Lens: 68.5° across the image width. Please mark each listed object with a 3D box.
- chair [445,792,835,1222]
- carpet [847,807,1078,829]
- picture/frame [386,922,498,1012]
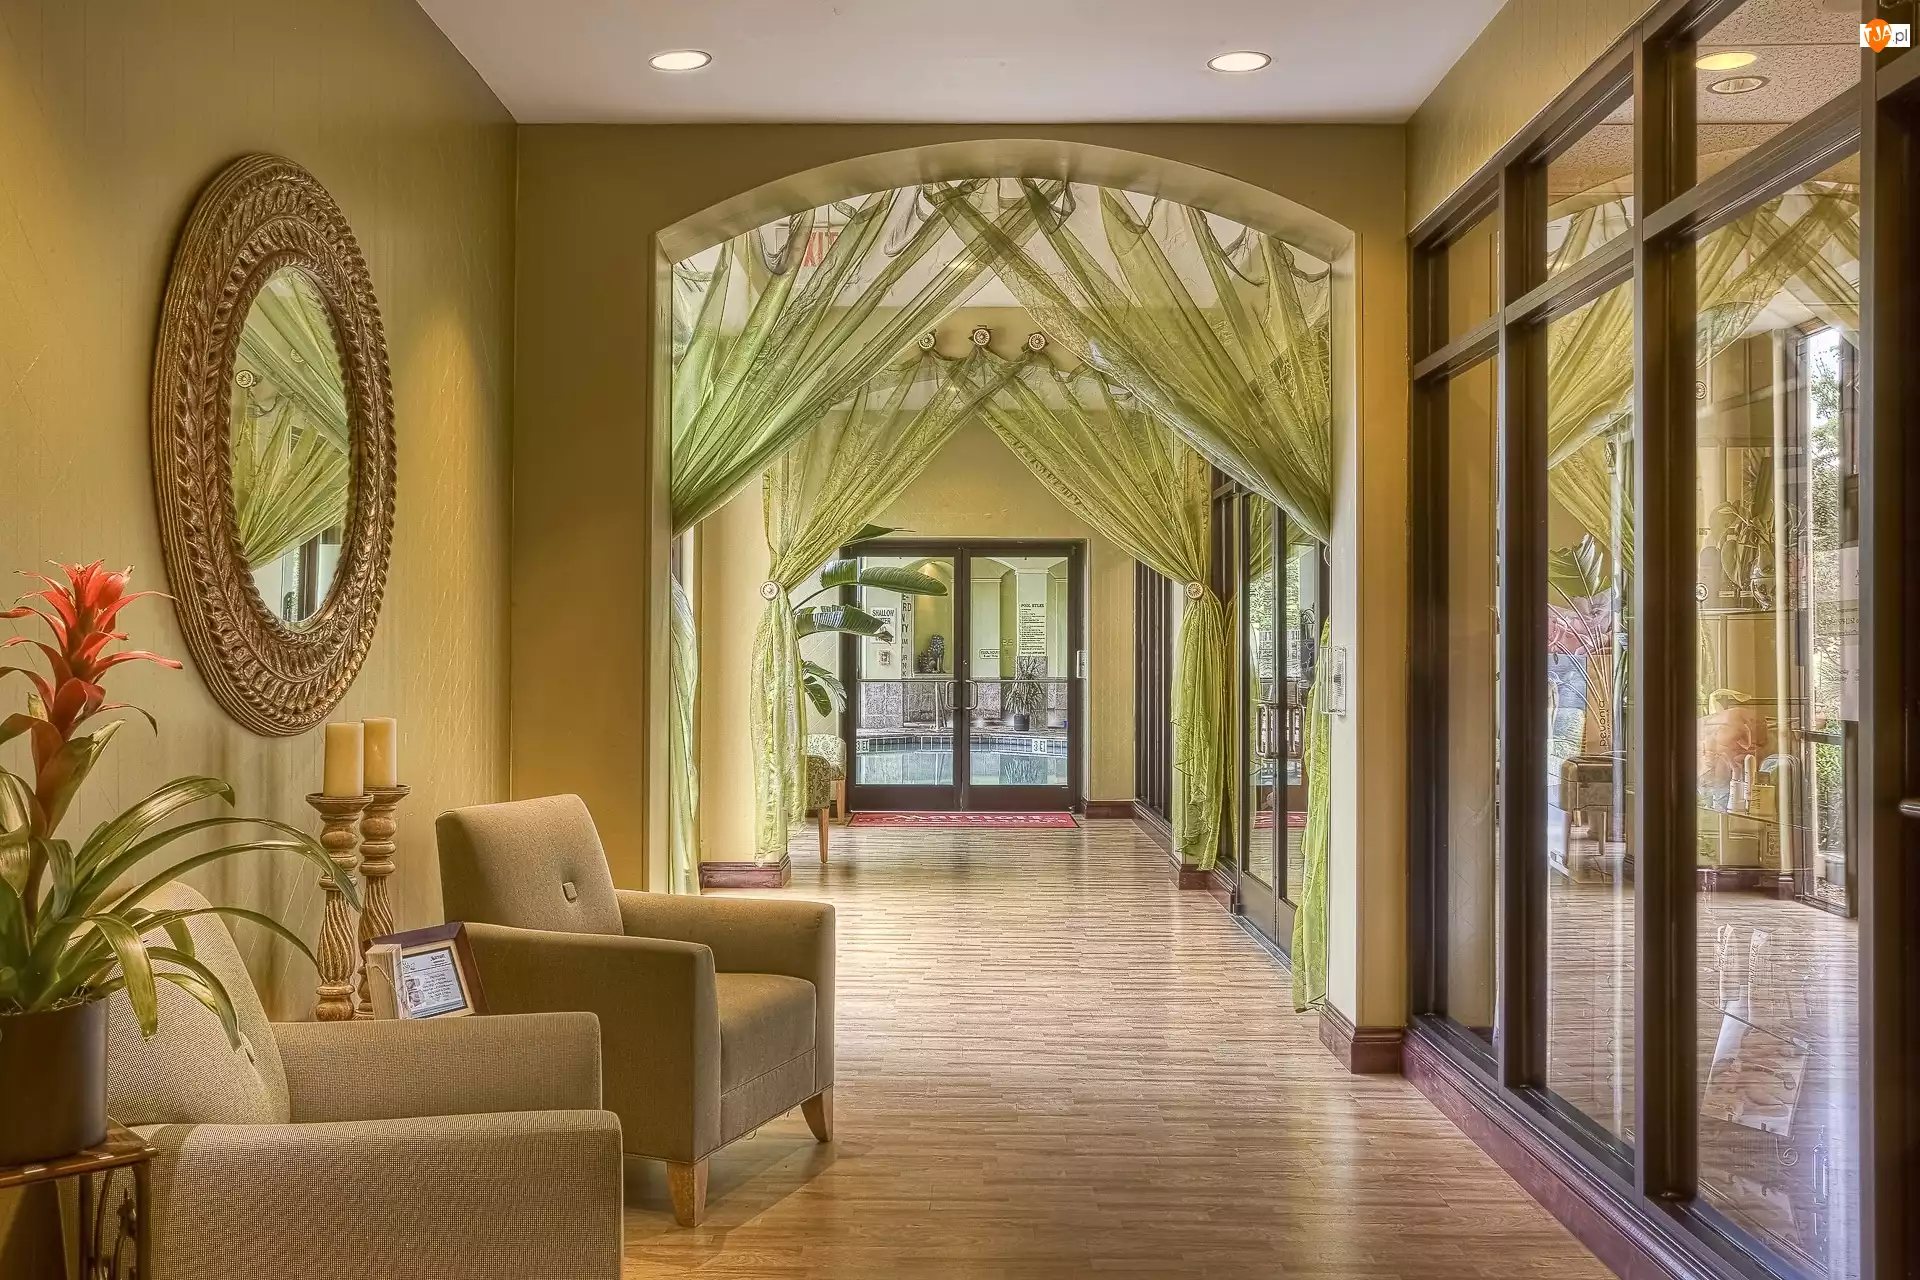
[{"bbox_3d":[-0.998,1.017,4.582,1.067,1.251,1.124,-1,-3,17],"label":"chair"},{"bbox_3d":[0.039,1.398,11.192,1.720,0.030,0.809,0,2,1],"label":"carpet"},{"bbox_3d":[-1.373,0.863,3.710,0.246,0.235,0.082,9,-46,-47],"label":"picture/frame"}]
